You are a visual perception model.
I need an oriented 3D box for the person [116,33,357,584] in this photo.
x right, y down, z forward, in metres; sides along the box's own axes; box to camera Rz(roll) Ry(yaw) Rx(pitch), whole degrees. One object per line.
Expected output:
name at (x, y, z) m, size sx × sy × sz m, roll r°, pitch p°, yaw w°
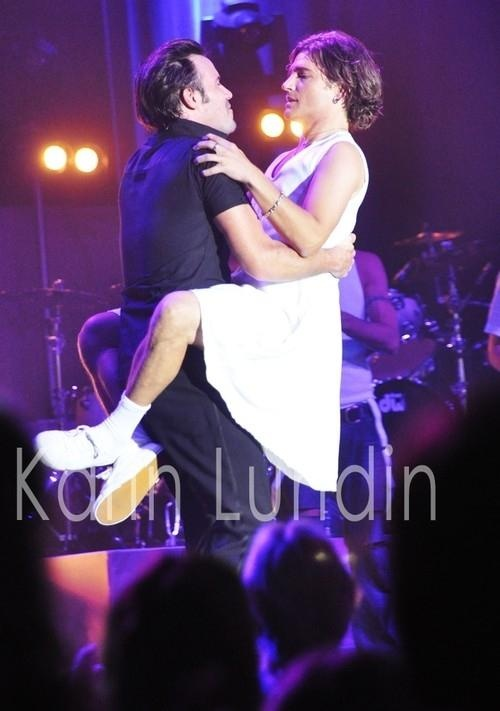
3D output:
person at (-0.074, -0.157, 1.755) m, size 0.585 × 1.248 × 0.370 m, roll -2°, pitch 0°, yaw -12°

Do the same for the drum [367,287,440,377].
drum at (0.890, -0.087, 3.696) m, size 0.404 × 0.514 × 0.146 m, roll 28°, pitch 5°, yaw 35°

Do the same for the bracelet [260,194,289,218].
bracelet at (0.067, -0.368, 1.650) m, size 0.015 × 0.062 × 0.053 m, roll 44°, pitch -11°, yaw -15°

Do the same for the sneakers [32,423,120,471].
sneakers at (-0.438, 0.230, 1.732) m, size 0.233 × 0.101 × 0.092 m, roll -5°, pitch -26°, yaw -25°
